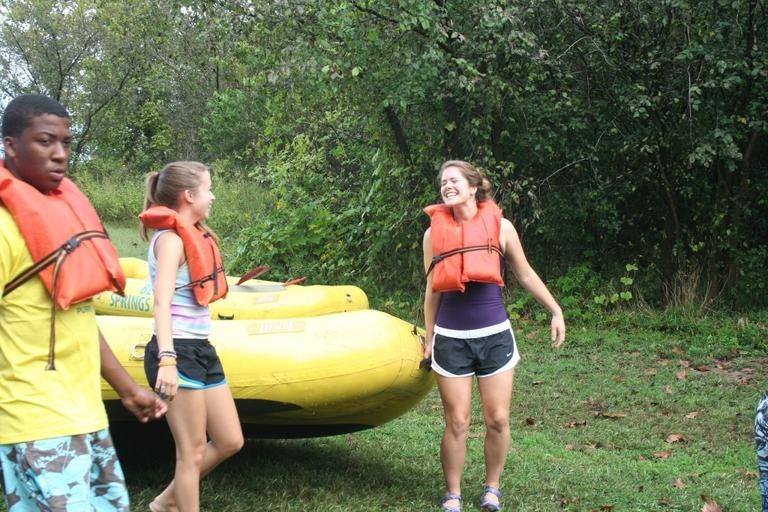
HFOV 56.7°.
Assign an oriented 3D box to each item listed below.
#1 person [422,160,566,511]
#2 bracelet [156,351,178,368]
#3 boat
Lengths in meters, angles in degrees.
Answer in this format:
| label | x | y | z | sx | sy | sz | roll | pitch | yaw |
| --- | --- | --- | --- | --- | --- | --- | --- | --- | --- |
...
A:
| label | x | y | z | sx | sy | sz | roll | pitch | yaw |
| --- | --- | --- | --- | --- | --- | --- | --- | --- | --- |
| person | 0.758 | 0.593 | 5.489 | 0.891 | 2.678 | 0.461 | 0 | 1 | 3 |
| bracelet | -1.357 | 0.647 | 4.443 | 0.104 | 0.087 | 0.102 | -6 | -27 | 2 |
| boat | -0.915 | 0.808 | 5.827 | 2.021 | 0.746 | 1.962 | 0 | 2 | -17 |
